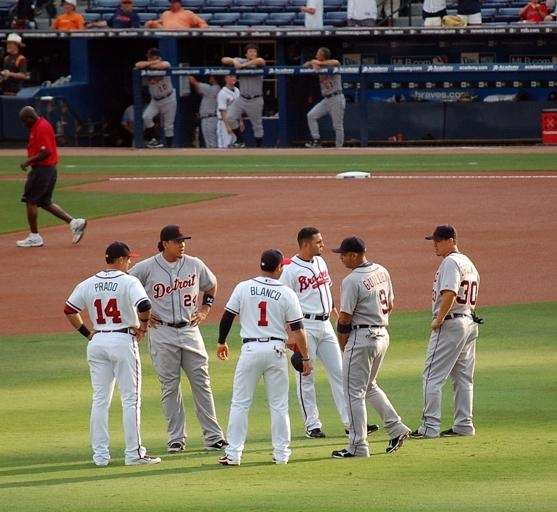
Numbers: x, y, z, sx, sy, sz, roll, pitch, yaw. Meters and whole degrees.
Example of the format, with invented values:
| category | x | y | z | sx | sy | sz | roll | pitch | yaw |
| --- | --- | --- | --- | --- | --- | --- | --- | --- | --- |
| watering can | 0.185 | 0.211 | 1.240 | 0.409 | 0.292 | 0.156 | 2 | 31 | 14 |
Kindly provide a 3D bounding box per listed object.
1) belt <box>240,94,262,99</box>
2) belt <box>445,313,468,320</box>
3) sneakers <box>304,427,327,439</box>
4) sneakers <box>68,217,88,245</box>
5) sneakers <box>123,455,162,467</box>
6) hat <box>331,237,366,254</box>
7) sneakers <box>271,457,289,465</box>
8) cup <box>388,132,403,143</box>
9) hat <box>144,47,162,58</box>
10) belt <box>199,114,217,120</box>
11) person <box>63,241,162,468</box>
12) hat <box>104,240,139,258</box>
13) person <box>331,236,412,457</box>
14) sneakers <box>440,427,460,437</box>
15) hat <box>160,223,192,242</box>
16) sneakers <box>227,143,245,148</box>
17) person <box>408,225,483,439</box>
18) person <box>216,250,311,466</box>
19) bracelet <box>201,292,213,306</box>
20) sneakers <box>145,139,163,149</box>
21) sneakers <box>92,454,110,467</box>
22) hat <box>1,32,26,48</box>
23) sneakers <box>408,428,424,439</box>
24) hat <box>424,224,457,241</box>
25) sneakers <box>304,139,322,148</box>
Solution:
| category | x | y | z | sx | sy | sz | roll | pitch | yaw |
| --- | --- | --- | --- | --- | --- | --- | --- | --- | --- |
| belt | -0.611 | -3.499 | 35.615 | 0.468 | 0.126 | 0.126 | -4 | 5 | -13 |
| belt | 1.962 | 0.646 | 17.750 | 0.247 | 0.070 | 0.046 | -4 | 5 | -15 |
| sneakers | 0.409 | 1.941 | 17.851 | 0.210 | 0.092 | 0.087 | -3 | -3 | 22 |
| sneakers | -3.083 | -0.403 | 24.844 | 0.238 | 0.490 | 0.180 | 10 | 48 | 3 |
| sneakers | -1.439 | 2.129 | 17.088 | 0.403 | 0.147 | 0.126 | -2 | -2 | -5 |
| hat | 0.763 | -0.119 | 17.436 | 0.298 | 0.143 | 0.184 | 4 | 7 | 11 |
| sneakers | 0.018 | 2.115 | 16.948 | 0.180 | 0.068 | 0.166 | -2 | 5 | 6 |
| cup | 2.752 | -2.770 | 37.993 | 0.294 | 0.142 | 0.218 | -12 | 3 | 9 |
| hat | -2.853 | -4.561 | 36.571 | 0.336 | 0.181 | 0.248 | 11 | 16 | 24 |
| belt | -1.631 | -3.229 | 37.508 | 0.410 | 0.108 | 0.249 | -2 | 5 | 4 |
| person | -1.785 | 1.010 | 17.293 | 0.873 | 2.290 | 0.889 | -4 | 5 | -7 |
| hat | -1.693 | -0.047 | 17.470 | 0.330 | 0.167 | 0.216 | -10 | 12 | -34 |
| person | 0.955 | 0.936 | 17.375 | 0.826 | 2.287 | 0.797 | -3 | 5 | 4 |
| sneakers | 1.886 | 1.913 | 17.710 | 0.194 | 0.070 | 0.080 | -2 | -3 | 13 |
| hat | -1.131 | -0.246 | 17.597 | 0.300 | 0.151 | 0.186 | -11 | 8 | 8 |
| sneakers | -0.991 | -2.547 | 37.330 | 0.357 | 0.138 | 0.127 | 2 | 5 | 3 |
| person | 1.864 | 0.802 | 17.804 | 0.767 | 2.281 | 0.702 | -2 | 5 | 6 |
| person | -0.164 | 1.038 | 17.132 | 0.994 | 2.196 | 0.720 | -3 | 5 | 1 |
| bracelet | -0.773 | 0.469 | 17.990 | 0.131 | 0.108 | 0.120 | 37 | -22 | -32 |
| sneakers | -2.929 | -2.646 | 38.126 | 0.490 | 0.207 | 0.171 | 2 | -2 | -12 |
| sneakers | -1.865 | 2.132 | 17.030 | 0.144 | 0.087 | 0.107 | -6 | -6 | 34 |
| hat | -5.918 | -4.877 | 36.424 | 0.442 | 0.179 | 0.498 | -1 | -22 | 43 |
| sneakers | 1.514 | 1.938 | 17.705 | 0.070 | 0.075 | 0.184 | 4 | 0 | -42 |
| hat | 1.810 | -0.274 | 17.879 | 0.307 | 0.145 | 0.189 | 1 | 2 | -1 |
| sneakers | 0.826 | -2.592 | 37.509 | 0.159 | 0.287 | 0.443 | -5 | 12 | -40 |
